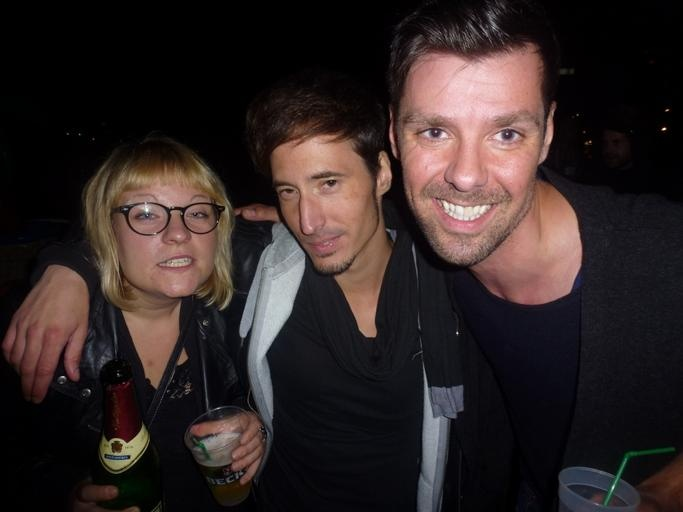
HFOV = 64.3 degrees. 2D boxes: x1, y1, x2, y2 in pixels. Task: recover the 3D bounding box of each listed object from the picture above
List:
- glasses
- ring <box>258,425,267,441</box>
[{"bbox_3d":[-1.033,-0.231,3.324,0.653,0.230,0.159,-8,13,-17],"label":"glasses"},{"bbox_3d":[-0.474,1.096,3.369,0.039,0.094,0.068,-5,13,-26],"label":"ring"}]
